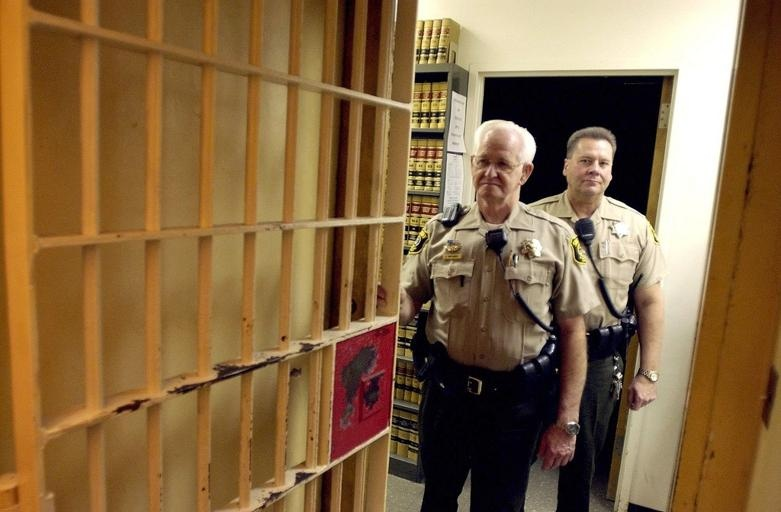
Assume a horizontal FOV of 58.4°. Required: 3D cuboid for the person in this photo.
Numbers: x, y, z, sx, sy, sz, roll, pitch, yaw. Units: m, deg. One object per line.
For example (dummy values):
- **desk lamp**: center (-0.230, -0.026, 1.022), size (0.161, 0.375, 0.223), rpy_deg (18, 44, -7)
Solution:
- **person**: center (0.874, 0.294, 3.630), size (1.020, 1.964, 0.550), rpy_deg (6, 3, -24)
